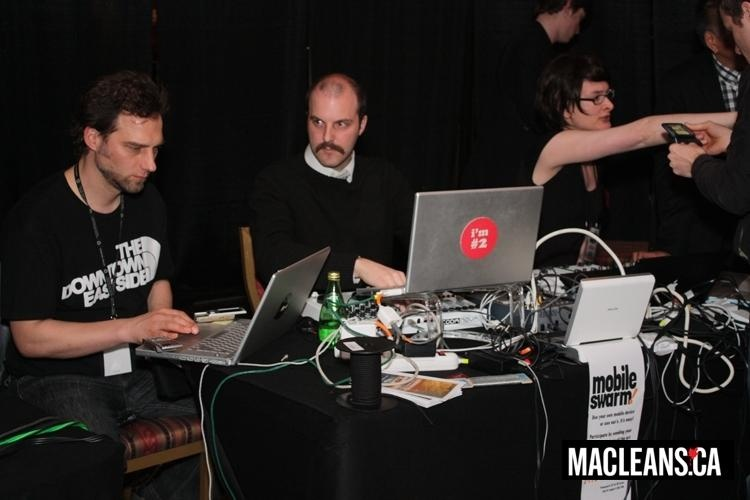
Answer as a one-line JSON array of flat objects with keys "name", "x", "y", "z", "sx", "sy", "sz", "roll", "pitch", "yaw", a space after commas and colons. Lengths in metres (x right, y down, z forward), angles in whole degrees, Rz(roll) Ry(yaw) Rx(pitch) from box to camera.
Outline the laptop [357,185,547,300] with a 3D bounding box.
[{"name": "laptop", "x": 0.359, "y": -0.059, "z": 2.539, "sx": 0.608, "sy": 0.421, "sz": 0.494, "roll": -4, "pitch": 10, "yaw": -26}]

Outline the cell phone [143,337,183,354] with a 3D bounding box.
[{"name": "cell phone", "x": -0.810, "y": 0.362, "z": 2.339, "sx": 0.077, "sy": 0.022, "sz": 0.072, "roll": 5, "pitch": 10, "yaw": 18}]

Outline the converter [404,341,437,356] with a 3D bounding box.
[{"name": "converter", "x": 0.168, "y": 0.368, "z": 2.255, "sx": 0.072, "sy": 0.042, "sz": 0.070, "roll": 0, "pitch": -4, "yaw": -8}]

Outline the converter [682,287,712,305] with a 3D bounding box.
[{"name": "converter", "x": 1.467, "y": 0.209, "z": 2.765, "sx": 0.083, "sy": 0.025, "sz": 0.053, "roll": -18, "pitch": 21, "yaw": 25}]

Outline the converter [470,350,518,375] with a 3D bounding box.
[{"name": "converter", "x": 0.442, "y": 0.420, "z": 2.268, "sx": 0.094, "sy": 0.034, "sz": 0.098, "roll": -5, "pitch": 11, "yaw": -32}]

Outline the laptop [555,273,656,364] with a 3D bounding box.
[{"name": "laptop", "x": 0.869, "y": 0.213, "z": 2.405, "sx": 0.388, "sy": 0.267, "sz": 0.265, "roll": -3, "pitch": 16, "yaw": -18}]
